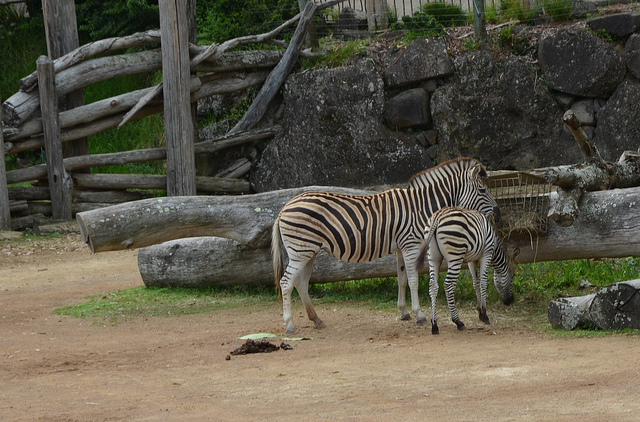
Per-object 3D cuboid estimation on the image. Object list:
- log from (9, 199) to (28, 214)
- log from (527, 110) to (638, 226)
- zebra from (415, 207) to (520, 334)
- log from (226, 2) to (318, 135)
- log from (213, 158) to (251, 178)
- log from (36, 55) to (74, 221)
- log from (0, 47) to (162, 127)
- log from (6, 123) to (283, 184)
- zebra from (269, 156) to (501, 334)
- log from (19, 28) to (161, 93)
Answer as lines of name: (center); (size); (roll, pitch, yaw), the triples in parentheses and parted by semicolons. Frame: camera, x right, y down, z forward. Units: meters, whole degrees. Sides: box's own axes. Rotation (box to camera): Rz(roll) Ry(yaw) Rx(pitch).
log: (-5.479, -0.112, 21.516); (0.360, 0.183, 0.135); (-5, 22, -28)
log: (3.932, -0.745, 17.446); (1.472, 0.886, 1.780); (-2, 7, 38)
zebra: (2.146, 0.805, 16.729); (0.548, 1.766, 2.139); (-1, 0, 44)
log: (-0.923, -2.759, 23.413); (0.306, 3.158, 0.499); (23, -15, 25)
log: (-1.693, -0.861, 23.332); (0.270, 0.329, 0.975); (-6, 17, 33)
log: (-4.871, -1.458, 21.363); (0.273, 2.748, 0.310); (-13, 28, -24)
log: (-4.381, -2.340, 22.425); (3.437, 0.713, 0.693); (-25, 46, -34)
log: (-3.295, -1.093, 22.662); (3.597, 0.436, 0.420); (-13, -24, -17)
zebra: (0.967, 0.440, 16.898); (3.211, 2.588, 0.921); (-1, 2, -2)
log: (-4.322, -2.926, 22.907); (3.085, 0.534, 0.620); (-28, 46, -31)
